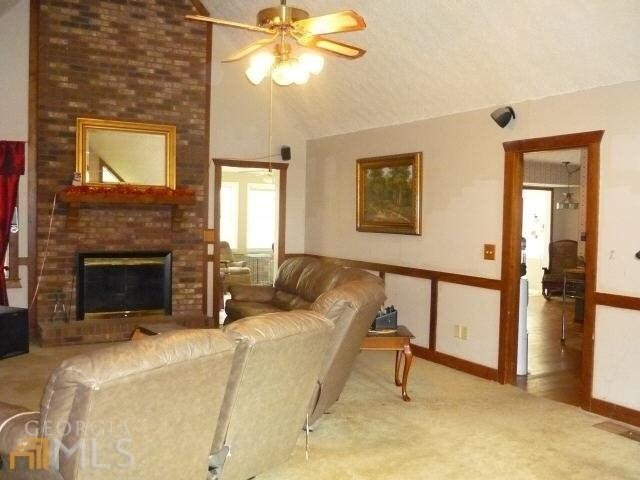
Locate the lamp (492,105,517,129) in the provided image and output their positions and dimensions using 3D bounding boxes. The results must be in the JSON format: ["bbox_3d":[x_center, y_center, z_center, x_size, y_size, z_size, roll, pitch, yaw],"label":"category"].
[{"bbox_3d":[1.902,-1.280,5.353,0.236,0.183,0.195,-17,-11,35],"label":"lamp"}]

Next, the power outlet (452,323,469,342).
[{"bbox_3d":[1.624,1.057,5.847,0.030,0.195,0.233,2,-5,-27],"label":"power outlet"}]

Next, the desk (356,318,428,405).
[{"bbox_3d":[0.553,1.200,5.030,0.708,0.572,0.694,1,-5,14],"label":"desk"}]

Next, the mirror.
[{"bbox_3d":[-2.557,-1.083,6.766,1.272,0.875,0.047,3,14,-3],"label":"mirror"}]

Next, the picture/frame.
[{"bbox_3d":[0.890,-0.593,6.768,0.079,1.014,1.133,-6,7,-40],"label":"picture/frame"}]

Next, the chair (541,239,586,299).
[{"bbox_3d":[4.785,0.566,10.123,0.804,1.040,0.804,-5,7,1],"label":"chair"}]
